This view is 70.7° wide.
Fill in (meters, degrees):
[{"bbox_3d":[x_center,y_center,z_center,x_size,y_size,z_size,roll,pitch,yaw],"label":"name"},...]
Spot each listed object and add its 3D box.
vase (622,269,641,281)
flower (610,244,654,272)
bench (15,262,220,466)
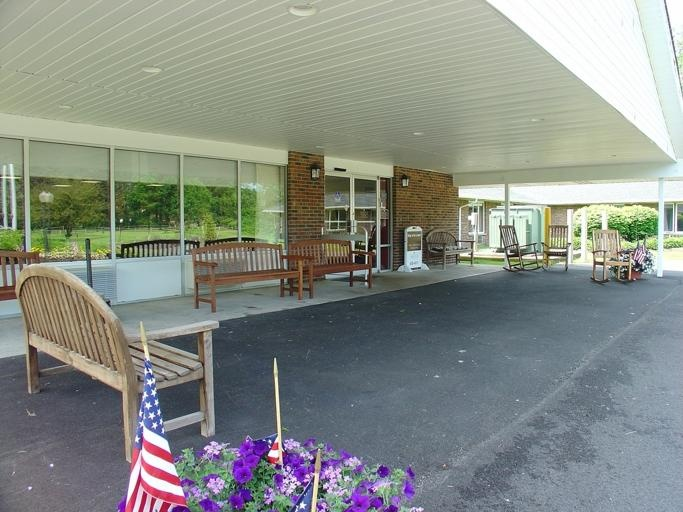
[{"bbox_3d":[6.593,0.434,10.984,0.406,0.203,0.383,2,5,31],"label":"vase"},{"bbox_3d":[7.123,0.043,11.731,1.047,0.579,0.915,11,-3,-43],"label":"flower"},{"bbox_3d":[-1.744,0.795,3.671,1.416,0.728,0.546,4,8,39],"label":"bench"}]
